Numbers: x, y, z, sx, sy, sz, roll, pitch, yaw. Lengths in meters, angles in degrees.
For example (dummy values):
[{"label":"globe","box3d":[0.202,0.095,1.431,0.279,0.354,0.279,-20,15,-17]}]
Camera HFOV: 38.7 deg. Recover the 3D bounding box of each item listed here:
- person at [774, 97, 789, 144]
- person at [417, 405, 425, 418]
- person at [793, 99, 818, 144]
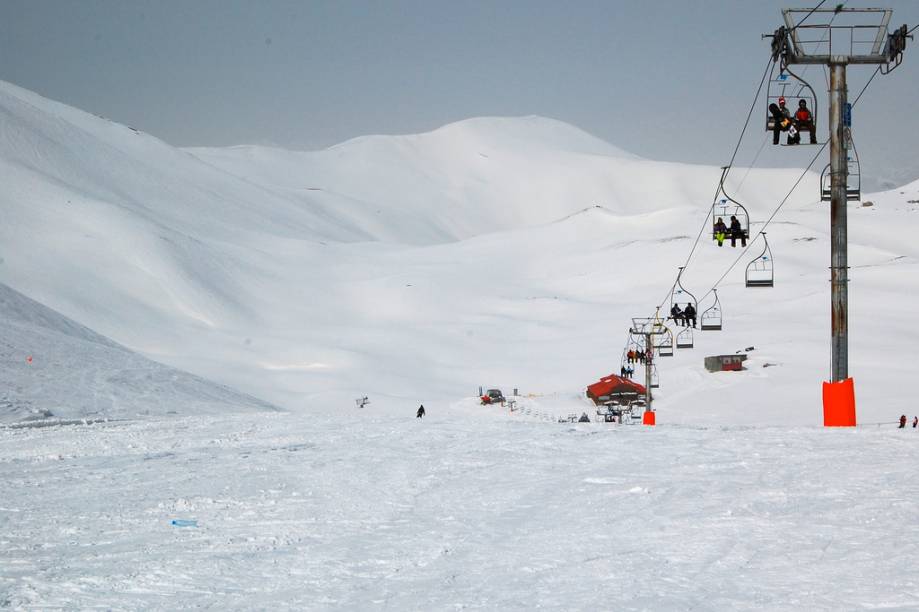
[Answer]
[{"label":"person","box3d":[19.515,-11.461,80.041,1.145,2.777,0.445,-2,7,8]},{"label":"person","box3d":[-3.262,8.829,108.844,1.058,0.537,2.124,3,-16,-3]},{"label":"person","box3d":[20.841,-11.339,79.801,1.236,2.649,0.689,-2,7,9]}]
